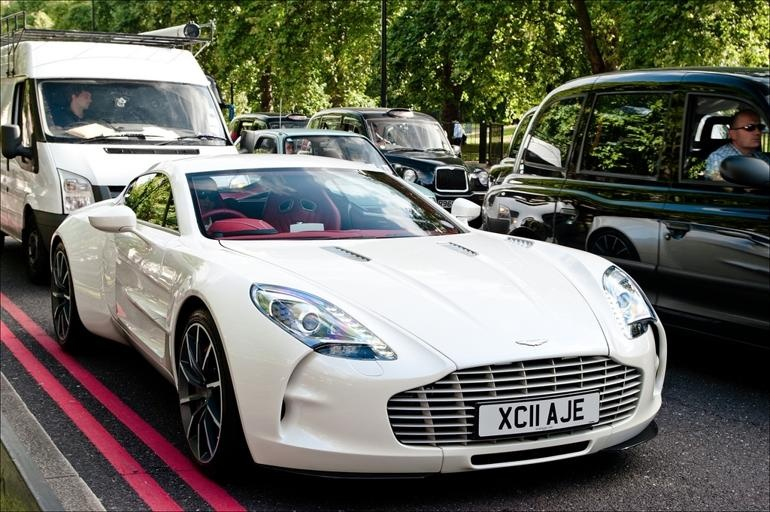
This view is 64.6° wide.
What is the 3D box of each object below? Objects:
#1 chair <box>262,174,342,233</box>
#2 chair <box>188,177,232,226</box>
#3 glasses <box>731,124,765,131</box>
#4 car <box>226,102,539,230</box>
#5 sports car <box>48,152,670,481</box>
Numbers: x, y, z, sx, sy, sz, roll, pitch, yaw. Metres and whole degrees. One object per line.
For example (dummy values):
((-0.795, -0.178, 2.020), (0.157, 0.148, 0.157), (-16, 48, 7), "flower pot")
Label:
((-0.635, -0.394, 4.666), (0.428, 0.551, 0.216), (-10, -3, -18), "chair")
((-1.303, -0.426, 4.489), (0.240, 0.398, 0.125), (-8, -20, -24), "chair")
((3.059, -1.082, 5.148), (0.087, 0.080, 0.291), (-3, 11, -19), "glasses")
((0.641, -2.258, 16.039), (3.283, 2.644, 5.664), (-6, 10, -42), "car")
((-0.376, 0.255, 4.269), (4.006, 1.841, 2.183), (10, 14, 38), "sports car")
